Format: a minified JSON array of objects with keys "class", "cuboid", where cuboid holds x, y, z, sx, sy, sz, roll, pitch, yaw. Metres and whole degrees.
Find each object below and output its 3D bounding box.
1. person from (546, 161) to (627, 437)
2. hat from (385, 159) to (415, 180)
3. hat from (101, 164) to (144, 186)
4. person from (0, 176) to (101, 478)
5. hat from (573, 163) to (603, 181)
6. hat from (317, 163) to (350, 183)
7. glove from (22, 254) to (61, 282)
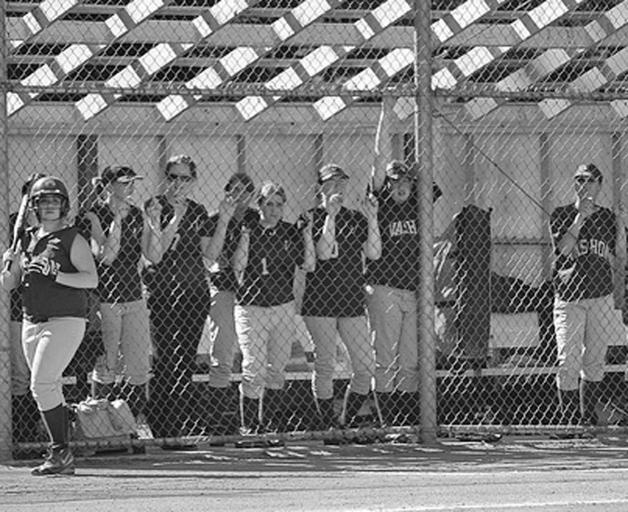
[{"class":"person","cuboid":[2.332,0.367,12.295,0.584,2.252,0.688,1,13,4]},{"class":"hat","cuboid":[0.726,-0.733,12.220,0.127,0.167,0.401,-8,15,-30]},{"class":"hat","cuboid":[-1.680,-0.687,12.158,0.335,0.127,0.244,-3,4,9]},{"class":"person","cuboid":[-2.056,0.536,11.001,0.604,2.247,0.611,9,16,36]},{"class":"hat","cuboid":[2.381,-0.728,12.362,0.200,0.152,0.347,3,14,15]},{"class":"hat","cuboid":[0.133,-0.727,12.269,0.196,0.137,0.256,-1,-22,-18]},{"class":"glove","cuboid":[-2.093,0.092,10.876,0.230,0.178,0.113,7,17,-2]}]
